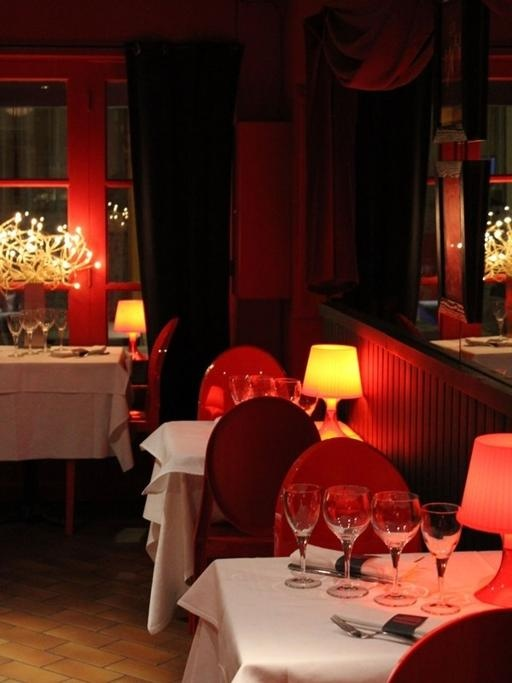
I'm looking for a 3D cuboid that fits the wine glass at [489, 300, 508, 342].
[{"bbox_3d":[0.596,-0.057,1.626,0.032,0.091,0.100,1,2,12],"label":"wine glass"}]
